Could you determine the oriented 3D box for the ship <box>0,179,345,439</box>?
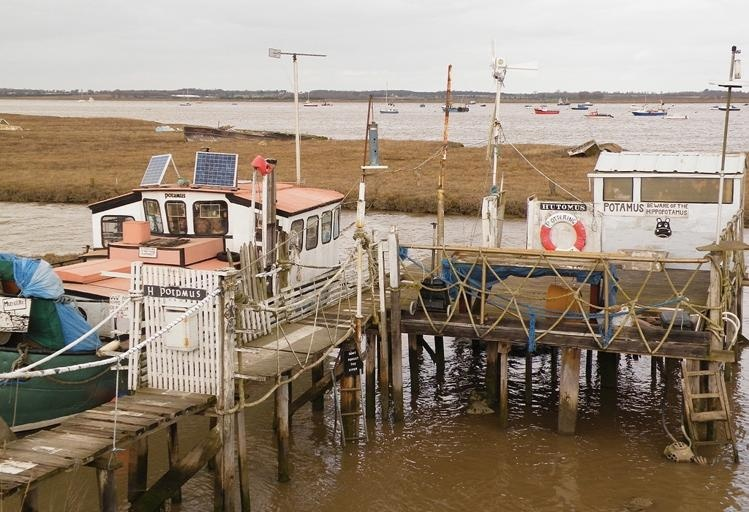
[{"bbox_3d":[-5.467,0.509,21.343,5.148,4.089,11.447,8,16,31],"label":"ship"}]
